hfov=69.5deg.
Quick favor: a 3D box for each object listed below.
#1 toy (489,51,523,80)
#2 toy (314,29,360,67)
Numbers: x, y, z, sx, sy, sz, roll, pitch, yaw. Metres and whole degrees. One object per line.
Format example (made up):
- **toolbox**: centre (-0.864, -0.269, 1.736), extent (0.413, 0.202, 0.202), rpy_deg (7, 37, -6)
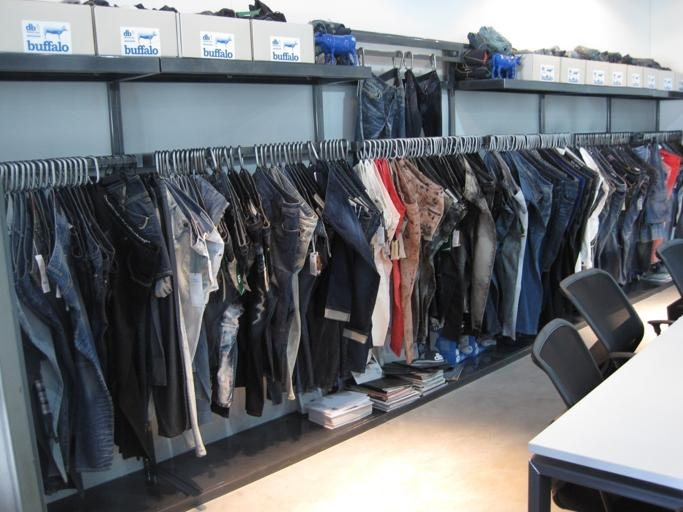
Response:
- **toy**: centre (1.408, -1.654, 4.280), extent (0.275, 0.313, 0.091), rpy_deg (-2, 6, -16)
- **toy**: centre (-0.048, -1.352, 3.205), extent (0.371, 0.198, 0.103), rpy_deg (-13, 18, -37)
